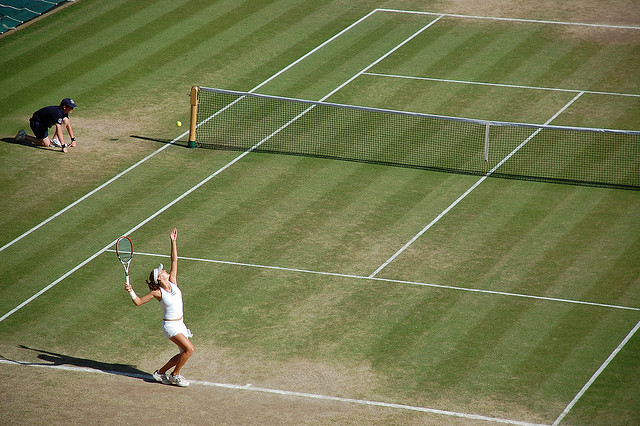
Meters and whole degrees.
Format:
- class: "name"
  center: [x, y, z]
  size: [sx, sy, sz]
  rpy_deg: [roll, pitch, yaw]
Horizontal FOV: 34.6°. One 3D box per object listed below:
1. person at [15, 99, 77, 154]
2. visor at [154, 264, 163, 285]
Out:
- class: "person"
  center: [-8.102, -2.663, 30.291]
  size: [2.131, 1.117, 0.965]
  rpy_deg: [7, 15, 7]
- class: "visor"
  center: [-3.405, 1.293, 21.847]
  size: [0.157, 0.346, 0.258]
  rpy_deg: [23, 13, -9]
